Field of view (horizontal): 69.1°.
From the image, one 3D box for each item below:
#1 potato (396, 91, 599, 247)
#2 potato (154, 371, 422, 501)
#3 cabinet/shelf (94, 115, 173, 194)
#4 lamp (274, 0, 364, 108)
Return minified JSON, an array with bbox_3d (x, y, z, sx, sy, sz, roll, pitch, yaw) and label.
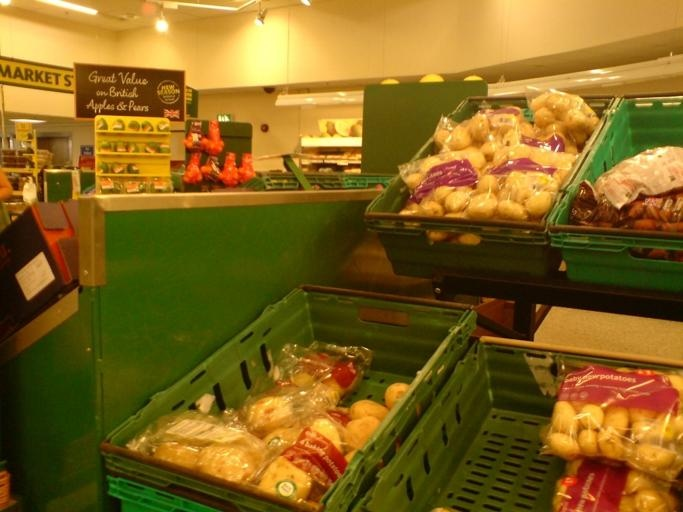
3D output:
[{"bbox_3d":[0.479,-0.322,1.617,0.554,0.438,0.745,11,19,32],"label":"potato"},{"bbox_3d":[-0.137,0.375,1.201,0.445,0.129,0.534,9,18,25],"label":"potato"},{"bbox_3d":[-1.797,-0.876,4.292,0.621,0.640,0.567,-5,16,-21],"label":"cabinet/shelf"},{"bbox_3d":[-0.488,-3.693,8.727,1.315,1.978,3.497,-1,16,-7],"label":"lamp"}]
